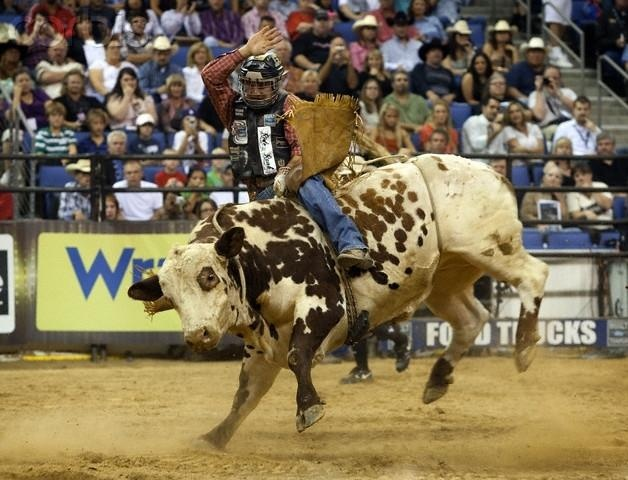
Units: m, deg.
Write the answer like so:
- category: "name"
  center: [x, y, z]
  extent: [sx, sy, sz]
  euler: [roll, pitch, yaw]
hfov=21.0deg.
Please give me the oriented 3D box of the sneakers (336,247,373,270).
- category: "sneakers"
  center: [0.453, 0.228, 19.904]
  extent: [0.413, 0.187, 0.168]
  euler: [1, 32, -7]

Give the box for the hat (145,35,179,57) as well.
- category: "hat"
  center: [-2.375, -2.925, 26.201]
  extent: [0.376, 0.156, 0.410]
  euler: [-3, -9, -9]

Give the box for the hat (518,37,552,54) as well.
- category: "hat"
  center: [3.442, -3.000, 26.781]
  extent: [0.335, 0.147, 0.367]
  euler: [1, -8, 1]

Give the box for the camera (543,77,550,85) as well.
- category: "camera"
  center: [3.547, -2.396, 26.139]
  extent: [0.103, 0.097, 0.103]
  euler: [0, 7, 1]

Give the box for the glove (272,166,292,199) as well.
- category: "glove"
  center: [-0.394, -0.668, 20.182]
  extent: [0.170, 0.385, 0.156]
  euler: [8, -24, 4]
